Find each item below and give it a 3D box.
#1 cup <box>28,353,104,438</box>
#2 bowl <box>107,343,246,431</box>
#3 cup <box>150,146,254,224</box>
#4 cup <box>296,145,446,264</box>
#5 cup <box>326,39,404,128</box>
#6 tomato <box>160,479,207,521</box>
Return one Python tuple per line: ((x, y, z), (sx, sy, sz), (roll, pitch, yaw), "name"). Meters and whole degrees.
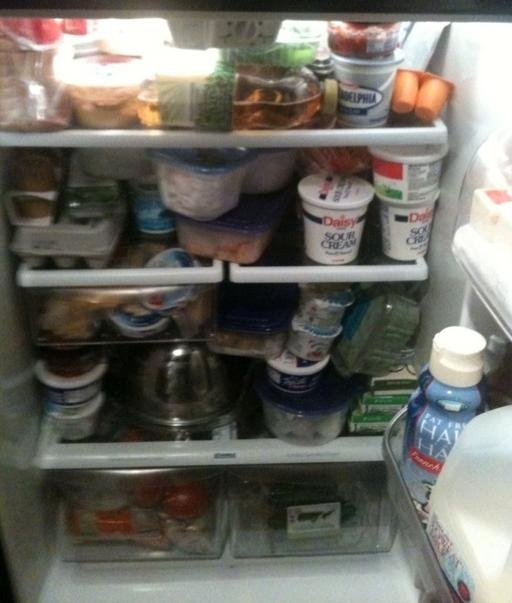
((-0.384, 0.183, 1.157), (0.136, 0.140, 0.119), (20, 39, 11), "cup")
((-0.150, 0.190, 1.320), (0.292, 0.080, 0.289), (-4, 14, 1), "bowl")
((-0.097, -0.200, 0.982), (0.141, 0.084, 0.117), (2, 40, -1), "cup")
((0.190, -0.200, 1.060), (0.217, 0.190, 0.192), (-6, 36, -1), "cup")
((0.180, -0.335, 0.922), (0.123, 0.092, 0.121), (1, 29, -1), "cup")
((-0.140, 0.418, 1.222), (0.100, 0.070, 0.037), (-18, 5, 1), "tomato")
